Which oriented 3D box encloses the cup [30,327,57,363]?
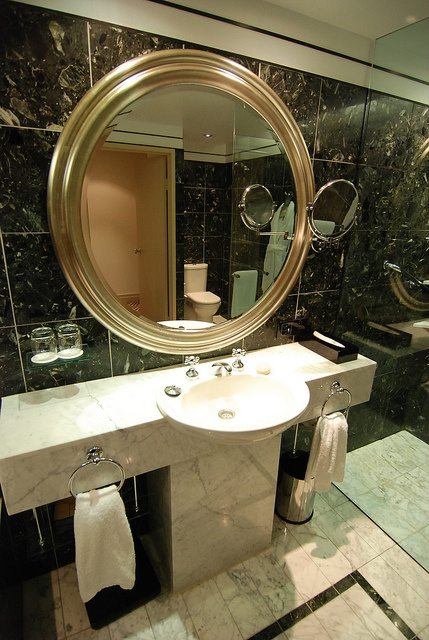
[{"bbox_3d":[-0.562,0.084,1.358,0.083,0.095,0.098,-5,22,-23],"label":"cup"}]

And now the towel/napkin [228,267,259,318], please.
[{"bbox_3d":[0.118,-0.122,1.744,0.159,0.302,0.033,-10,29,-28],"label":"towel/napkin"}]

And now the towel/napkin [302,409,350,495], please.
[{"bbox_3d":[0.461,0.569,1.718,0.164,0.418,0.124,16,23,30],"label":"towel/napkin"}]

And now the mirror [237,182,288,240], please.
[{"bbox_3d":[0.194,-0.450,1.703,0.175,0.219,0.164,-13,28,-28],"label":"mirror"}]

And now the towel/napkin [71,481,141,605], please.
[{"bbox_3d":[-0.348,0.693,1.290,0.240,0.364,0.093,-4,12,-35],"label":"towel/napkin"}]

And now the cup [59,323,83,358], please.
[{"bbox_3d":[-0.495,0.071,1.409,0.070,0.083,0.071,1,29,0],"label":"cup"}]

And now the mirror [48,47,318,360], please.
[{"bbox_3d":[-0.130,-0.441,1.481,1.023,1.093,0.060,-14,27,-31],"label":"mirror"}]

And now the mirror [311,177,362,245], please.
[{"bbox_3d":[0.529,-0.487,1.808,0.283,0.314,0.052,-11,24,-28],"label":"mirror"}]
